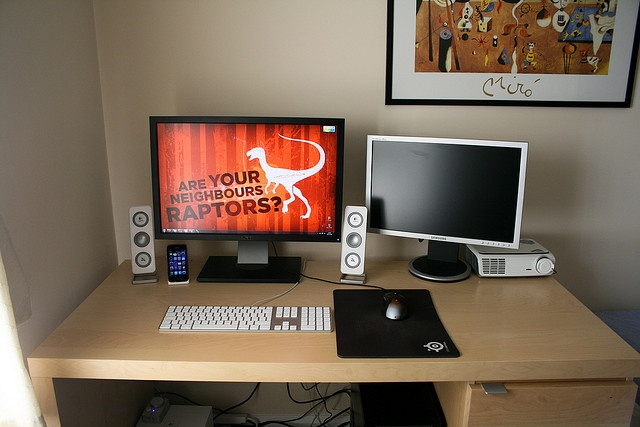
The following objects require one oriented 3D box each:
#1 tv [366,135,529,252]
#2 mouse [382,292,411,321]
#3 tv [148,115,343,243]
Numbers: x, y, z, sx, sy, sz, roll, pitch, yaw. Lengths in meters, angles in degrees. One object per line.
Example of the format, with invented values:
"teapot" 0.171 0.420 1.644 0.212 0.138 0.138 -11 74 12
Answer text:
"tv" 0.554 -0.097 2.141 0.567 0.381 0.041 4 10 9
"mouse" 0.307 0.359 1.996 0.117 0.059 0.171 0 21 -1
"tv" -0.330 -0.166 2.145 0.606 0.387 0.044 1 10 -4
